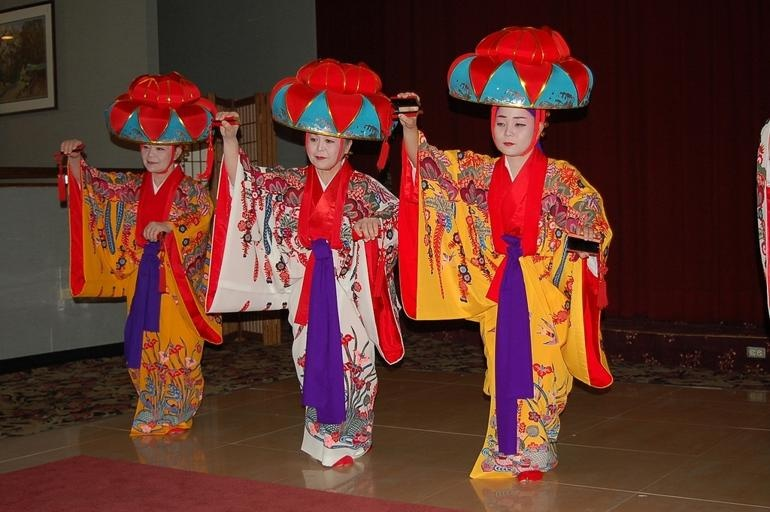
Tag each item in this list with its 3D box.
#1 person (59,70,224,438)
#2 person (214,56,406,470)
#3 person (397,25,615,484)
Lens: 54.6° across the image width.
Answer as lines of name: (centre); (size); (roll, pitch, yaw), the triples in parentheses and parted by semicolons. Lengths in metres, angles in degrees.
person: (-1.516, -0.037, 4.859); (1.046, 2.319, 0.493); (0, 6, 8)
person: (-0.449, 0.020, 4.361); (1.085, 2.321, 0.475); (-1, 6, 1)
person: (0.656, -0.028, 4.112); (1.140, 2.450, 0.436); (1, 7, 17)
